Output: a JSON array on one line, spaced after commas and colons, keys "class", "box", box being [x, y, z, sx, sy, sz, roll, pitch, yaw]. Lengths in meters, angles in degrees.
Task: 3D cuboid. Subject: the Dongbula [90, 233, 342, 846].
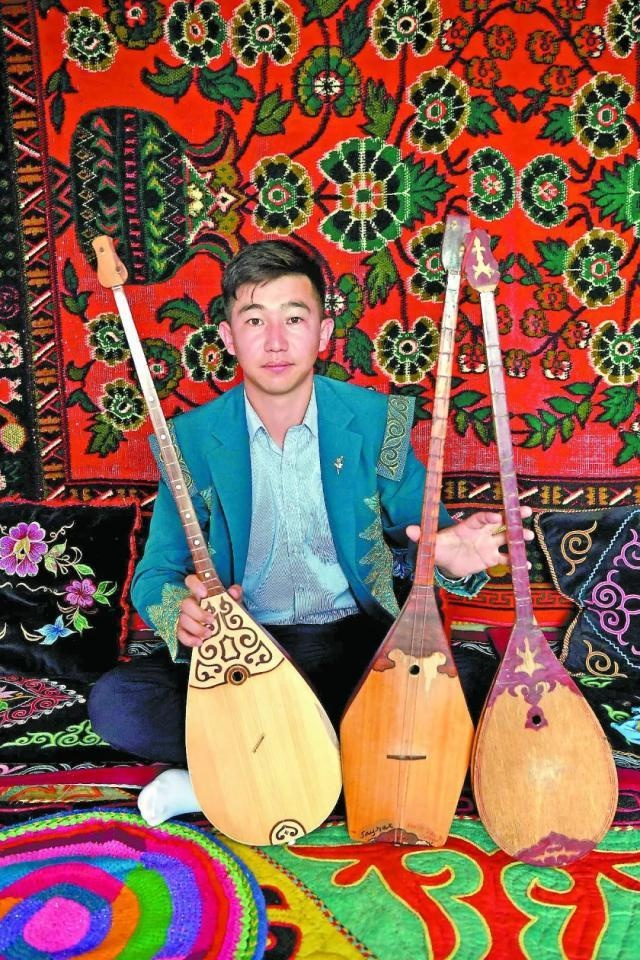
[{"class": "Dongbula", "box": [-0.313, 0.074, 1.790, 0.419, 1.294, 0.159, -18, -7, -25]}]

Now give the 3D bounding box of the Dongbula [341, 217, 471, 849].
[{"class": "Dongbula", "box": [0.179, 0.108, 1.671, 0.238, 1.218, 0.178, 1, 8, -15]}]

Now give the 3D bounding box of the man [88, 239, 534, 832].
[{"class": "man", "box": [-0.154, 0.123, 2.258, 1.101, 1.234, 0.595, -5, 3, -8]}]
